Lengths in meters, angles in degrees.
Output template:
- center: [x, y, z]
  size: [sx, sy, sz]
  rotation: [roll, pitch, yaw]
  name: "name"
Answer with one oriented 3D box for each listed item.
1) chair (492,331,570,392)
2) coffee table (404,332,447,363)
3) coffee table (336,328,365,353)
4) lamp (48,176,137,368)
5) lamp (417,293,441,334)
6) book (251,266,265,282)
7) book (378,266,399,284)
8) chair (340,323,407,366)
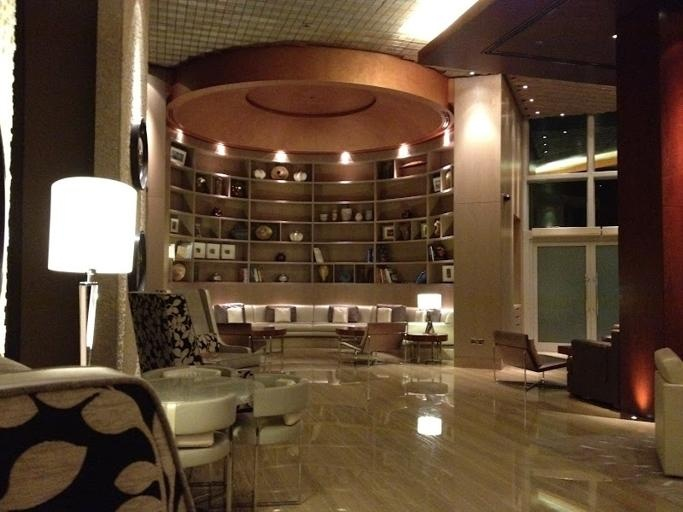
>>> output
- center: [2.589, 1.358, 7.510]
  size: [0.954, 0.861, 0.763]
  rotation: [-1, 0, -29]
  name: "chair"
- center: [1.440, 1.485, 9.337]
  size: [0.591, 0.394, 0.607]
  rotation: [0, -5, -2]
  name: "coffee table"
- center: [0.171, 1.485, 9.460]
  size: [0.489, 0.392, 0.517]
  rotation: [0, 3, -16]
  name: "coffee table"
- center: [-1.326, 0.062, 2.982]
  size: [0.410, 1.043, 0.688]
  rotation: [1, -1, -28]
  name: "lamp"
- center: [1.529, 0.976, 9.645]
  size: [0.410, 0.660, 1.091]
  rotation: [0, -1, 10]
  name: "lamp"
- center: [-1.711, 0.362, 11.435]
  size: [0.246, 0.323, 0.461]
  rotation: [1, -1, -7]
  name: "book"
- center: [0.930, 0.377, 11.244]
  size: [0.416, 0.333, 0.350]
  rotation: [0, -1, 26]
  name: "book"
- center: [0.519, 1.367, 8.956]
  size: [0.807, 0.695, 0.898]
  rotation: [3, -5, -31]
  name: "chair"
